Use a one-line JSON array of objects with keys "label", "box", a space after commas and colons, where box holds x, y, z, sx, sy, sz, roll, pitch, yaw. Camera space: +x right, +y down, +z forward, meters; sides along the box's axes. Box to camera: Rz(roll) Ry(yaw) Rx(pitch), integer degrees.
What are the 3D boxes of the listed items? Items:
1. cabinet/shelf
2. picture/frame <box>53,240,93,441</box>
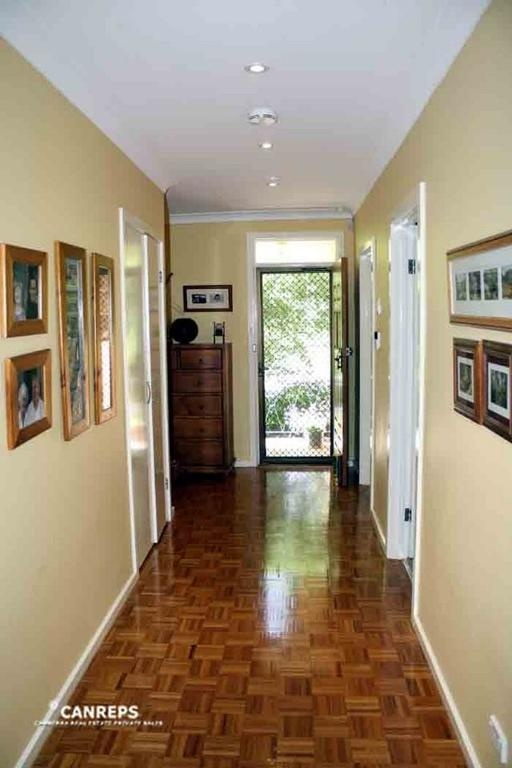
[{"label": "cabinet/shelf", "box": [-0.581, 0.253, 5.114, 0.553, 1.286, 0.188, -2, 3, -13]}, {"label": "picture/frame", "box": [-0.709, -0.170, 2.017, 0.070, 0.743, 0.391, -1, 3, -12]}]
